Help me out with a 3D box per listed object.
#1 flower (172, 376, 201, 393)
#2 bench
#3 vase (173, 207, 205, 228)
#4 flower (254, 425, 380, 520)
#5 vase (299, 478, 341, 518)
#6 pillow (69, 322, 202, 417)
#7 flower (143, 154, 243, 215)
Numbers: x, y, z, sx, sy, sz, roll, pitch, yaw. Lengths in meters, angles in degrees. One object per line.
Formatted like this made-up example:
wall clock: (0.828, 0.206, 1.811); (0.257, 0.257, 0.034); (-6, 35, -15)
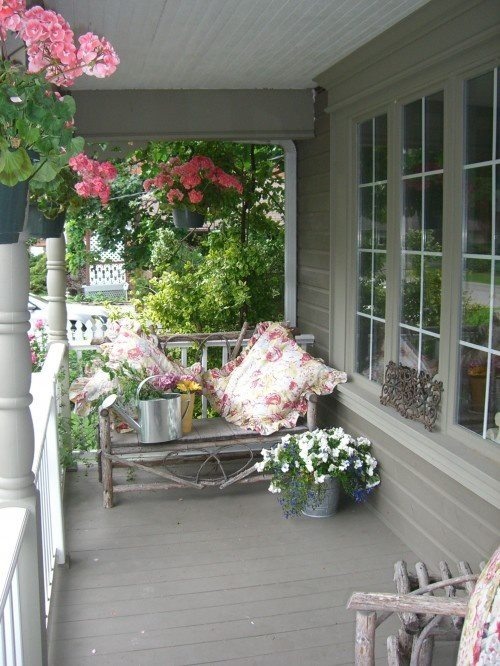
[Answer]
flower: (-0.391, 0.311, 3.383); (0.118, 0.114, 0.115); (4, -26, -5)
bench: (-0.284, 0.503, 3.644); (1.447, 0.938, 1.266); (-2, 7, -15)
vase: (-0.493, -0.915, 4.361); (0.168, 0.123, 0.171); (-1, 2, 0)
flower: (0.381, 0.733, 2.932); (0.570, 0.374, 0.546); (-9, 2, -6)
vase: (0.405, 0.927, 3.015); (0.215, 0.170, 0.236); (1, 2, 5)
pillow: (-0.787, 0.181, 3.389); (0.627, 0.214, 0.616); (-21, 20, -18)
flower: (-0.456, -1.152, 4.210); (0.453, 0.346, 0.578); (6, 8, 39)
